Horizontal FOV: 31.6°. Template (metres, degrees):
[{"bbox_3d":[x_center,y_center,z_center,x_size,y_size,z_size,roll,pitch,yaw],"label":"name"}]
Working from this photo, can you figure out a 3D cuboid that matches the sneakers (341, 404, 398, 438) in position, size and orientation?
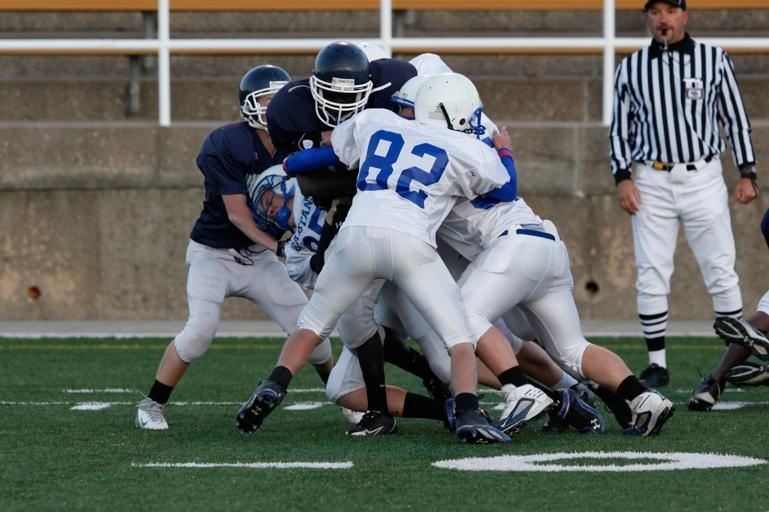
[{"bbox_3d":[-0.080,0.931,7.622,0.319,0.135,0.114,2,15,-20],"label":"sneakers"}]

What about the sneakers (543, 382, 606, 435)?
[{"bbox_3d":[1.041,0.876,7.576,0.467,0.156,0.201,25,3,-46],"label":"sneakers"}]

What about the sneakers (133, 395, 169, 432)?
[{"bbox_3d":[-1.337,0.900,7.836,0.186,0.169,0.202,0,4,-18],"label":"sneakers"}]

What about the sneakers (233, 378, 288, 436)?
[{"bbox_3d":[-0.651,0.794,7.358,0.174,0.362,0.198,46,19,8],"label":"sneakers"}]

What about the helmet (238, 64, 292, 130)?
[{"bbox_3d":[-0.739,-0.981,8.232,0.293,0.327,0.388,-5,9,-30],"label":"helmet"}]

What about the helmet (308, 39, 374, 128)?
[{"bbox_3d":[-0.247,-1.004,7.820,0.347,0.410,0.459,5,46,-5],"label":"helmet"}]

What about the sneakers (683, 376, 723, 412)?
[{"bbox_3d":[1.910,0.828,8.114,0.112,0.142,0.310,25,1,4],"label":"sneakers"}]
